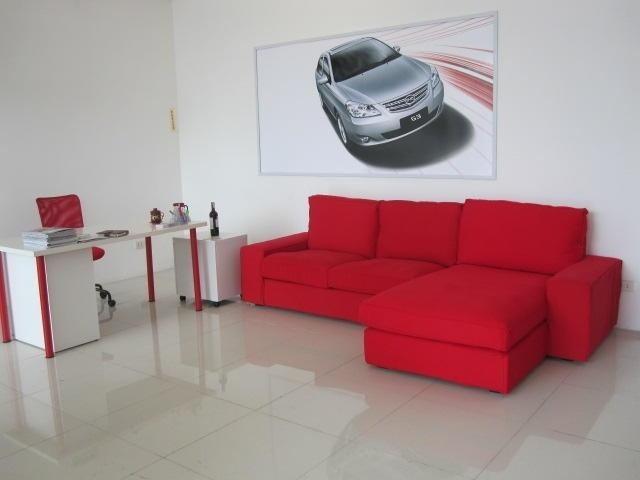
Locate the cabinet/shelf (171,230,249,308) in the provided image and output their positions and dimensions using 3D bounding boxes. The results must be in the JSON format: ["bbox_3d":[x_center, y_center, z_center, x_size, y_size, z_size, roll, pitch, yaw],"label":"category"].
[{"bbox_3d":[-1.225,0.269,5.539,0.765,0.836,0.796,5,11,31],"label":"cabinet/shelf"}]
